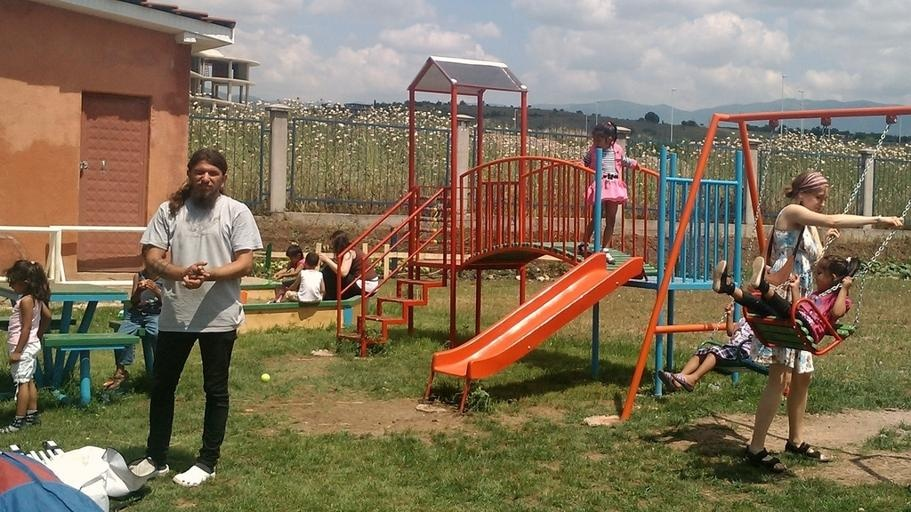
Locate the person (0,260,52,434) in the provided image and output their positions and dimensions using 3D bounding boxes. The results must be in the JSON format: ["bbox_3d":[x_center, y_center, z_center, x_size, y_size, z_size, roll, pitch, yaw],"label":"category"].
[{"bbox_3d":[-6.409,1.298,15.489,0.662,2.431,0.908,0,6,-20],"label":"person"}]

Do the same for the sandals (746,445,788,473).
[{"bbox_3d":[4.436,2.913,14.923,0.505,0.208,0.280,7,12,40],"label":"sandals"}]

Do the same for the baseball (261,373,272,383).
[{"bbox_3d":[-3.160,2.015,17.316,0.134,0.118,0.126,8,16,-15],"label":"baseball"}]

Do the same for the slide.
[{"bbox_3d":[1.231,1.176,17.288,3.390,2.452,1.173,0,6,-23],"label":"slide"}]

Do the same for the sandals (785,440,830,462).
[{"bbox_3d":[5.084,2.847,15.150,0.582,0.194,0.256,8,5,9],"label":"sandals"}]
